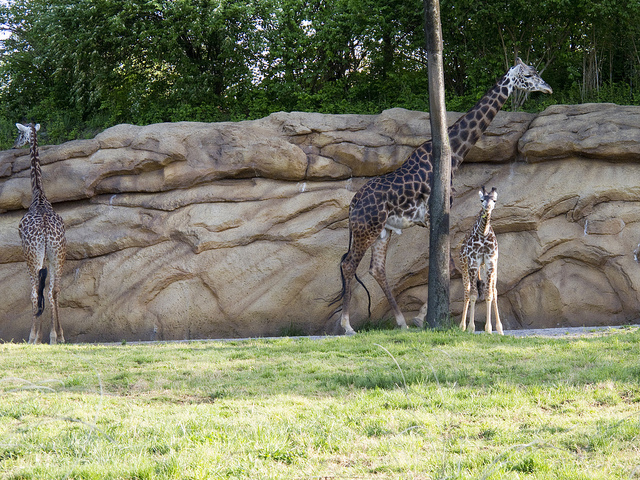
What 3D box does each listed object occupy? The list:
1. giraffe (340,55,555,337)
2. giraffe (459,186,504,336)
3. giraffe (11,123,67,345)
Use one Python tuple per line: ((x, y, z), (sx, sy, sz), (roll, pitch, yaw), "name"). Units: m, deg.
((3.563, -1.106, 23.373), (5.263, 6.234, 9.660), (-2, 1, 12), "giraffe")
((3.408, 0.431, 19.870), (0.898, 3.168, 1.964), (-2, 0, 8), "giraffe")
((-6.338, -0.200, 21.131), (0.945, 4.985, 1.270), (-2, 0, -18), "giraffe")
